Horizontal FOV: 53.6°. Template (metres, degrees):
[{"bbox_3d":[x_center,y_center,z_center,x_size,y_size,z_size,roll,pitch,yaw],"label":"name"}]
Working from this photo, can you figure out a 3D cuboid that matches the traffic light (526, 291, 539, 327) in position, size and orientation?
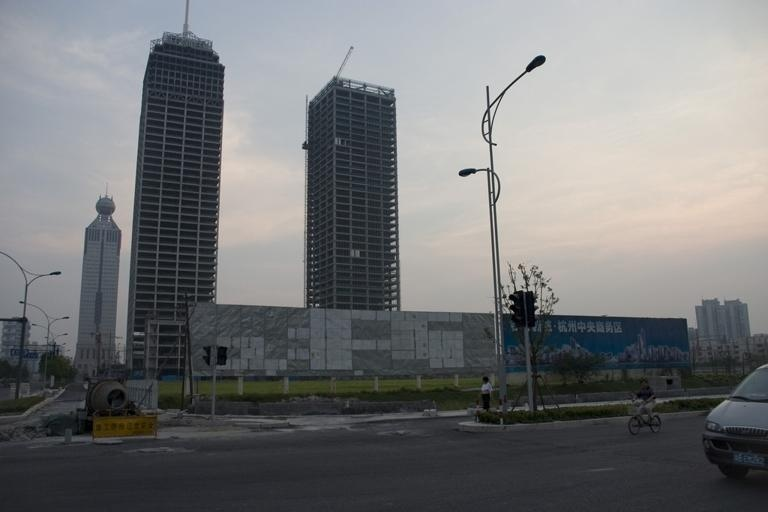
[{"bbox_3d":[7.564,2.641,39.136,0.472,1.863,1.323,-5,-11,9],"label":"traffic light"}]

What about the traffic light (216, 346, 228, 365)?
[{"bbox_3d":[-9.147,5.557,43.017,0.539,0.955,1.187,0,-11,-18],"label":"traffic light"}]
